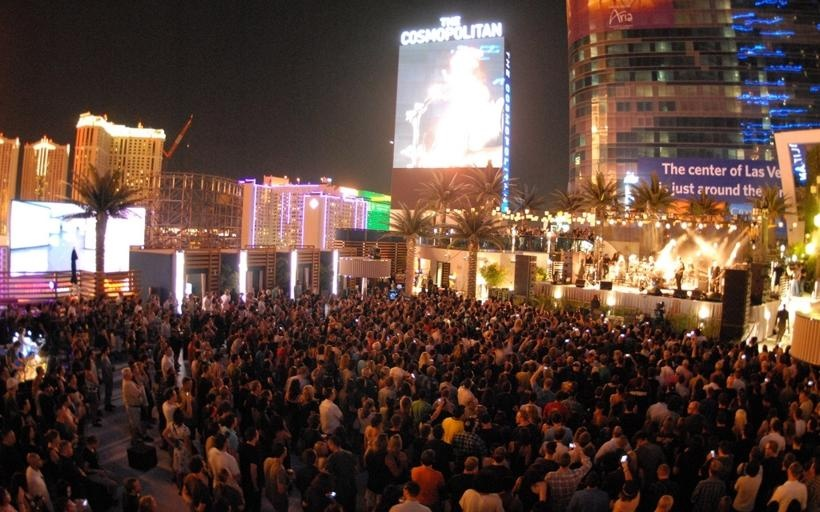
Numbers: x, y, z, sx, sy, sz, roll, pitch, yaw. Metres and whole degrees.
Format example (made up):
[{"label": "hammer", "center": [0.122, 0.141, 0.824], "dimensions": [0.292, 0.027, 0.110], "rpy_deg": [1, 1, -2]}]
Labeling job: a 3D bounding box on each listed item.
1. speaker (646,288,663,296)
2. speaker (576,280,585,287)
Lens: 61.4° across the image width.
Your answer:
[{"label": "speaker", "center": [15.767, 2.371, 44.492], "dimensions": [0.643, 0.436, 0.683], "rpy_deg": [3, 5, 44]}, {"label": "speaker", "center": [11.954, 1.964, 48.308], "dimensions": [0.427, 0.536, 0.766], "rpy_deg": [1, 1, -1]}]
